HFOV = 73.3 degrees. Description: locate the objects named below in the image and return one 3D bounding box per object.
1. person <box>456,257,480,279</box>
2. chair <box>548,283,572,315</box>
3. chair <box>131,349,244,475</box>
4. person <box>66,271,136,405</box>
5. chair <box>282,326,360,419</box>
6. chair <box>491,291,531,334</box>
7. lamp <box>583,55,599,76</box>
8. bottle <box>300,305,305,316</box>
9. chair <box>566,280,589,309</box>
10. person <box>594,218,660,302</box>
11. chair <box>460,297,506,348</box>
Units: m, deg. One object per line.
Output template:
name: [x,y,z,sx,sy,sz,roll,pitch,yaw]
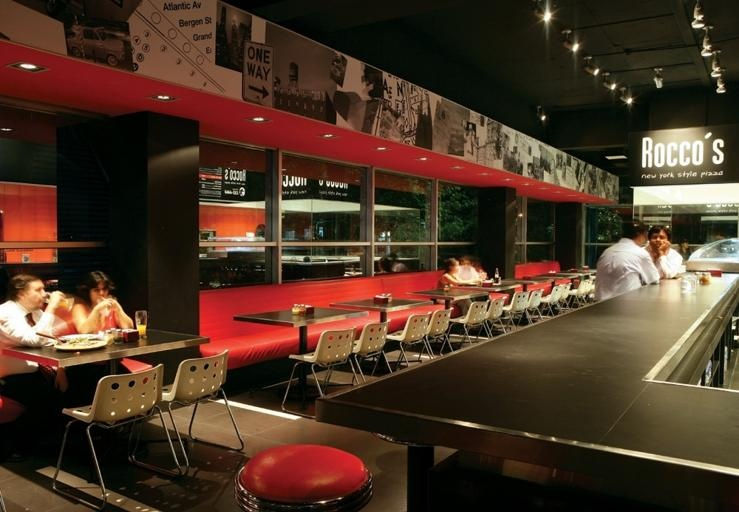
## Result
person: [2.106,0.303,10.505,0.304,0.736,0.241,-8,-15,-19]
chair: [4.435,0.998,11.509,0.428,0.669,1.032,1,-1,28]
chair: [-1.633,1.341,4.485,0.677,0.925,0.656,-1,0,27]
person: [-2.763,0.816,5.130,0.678,1.212,0.508,6,17,33]
chair: [-0.532,1.269,5.683,0.664,0.892,0.685,-1,-2,35]
chair: [2.777,1.027,9.417,0.531,0.663,0.554,-5,1,-1]
lamp: [4.309,-3.683,9.570,0.348,0.111,0.455,11,34,-22]
bottle: [-0.801,0.638,5.973,0.088,0.137,0.089,0,1,0]
chair: [5.391,0.994,12.794,0.332,0.500,1.009,0,-2,27]
person: [3.161,0.252,5.988,0.599,1.239,0.613,-12,15,-17]
chair: [1.705,1.085,8.306,0.619,0.737,0.532,3,7,44]
